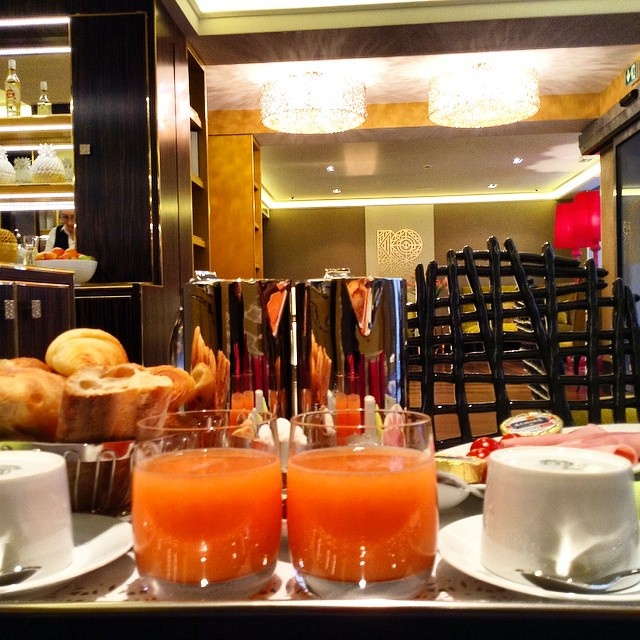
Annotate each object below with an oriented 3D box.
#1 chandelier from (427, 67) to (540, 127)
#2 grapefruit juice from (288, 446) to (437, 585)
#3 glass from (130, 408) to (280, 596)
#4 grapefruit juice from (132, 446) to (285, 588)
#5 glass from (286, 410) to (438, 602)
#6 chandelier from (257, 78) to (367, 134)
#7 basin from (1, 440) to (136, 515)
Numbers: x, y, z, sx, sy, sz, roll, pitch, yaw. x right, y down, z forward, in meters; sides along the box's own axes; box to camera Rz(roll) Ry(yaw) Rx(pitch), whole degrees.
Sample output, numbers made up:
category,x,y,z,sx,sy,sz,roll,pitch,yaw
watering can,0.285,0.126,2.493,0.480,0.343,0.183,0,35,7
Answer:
category,x,y,z,sx,sy,sz,roll,pitch,yaw
chandelier,1.252,-1.786,4.280,0.796,0.412,0.613,-1,-1,8
grapefruit juice,0.019,0.091,0.253,0.060,0.046,0.061,0,1,4
glass,-0.051,0.092,0.306,0.077,0.083,0.079,0,-7,-2
grapefruit juice,-0.058,0.103,0.288,0.079,0.068,0.083,-8,-8,32
glass,0.023,0.090,0.292,0.085,0.091,0.081,-1,0,-44
chandelier,-0.010,-1.723,4.383,0.842,0.300,0.866,-1,10,-7
basin,-0.155,0.098,0.344,0.065,0.036,0.078,-1,-13,2
